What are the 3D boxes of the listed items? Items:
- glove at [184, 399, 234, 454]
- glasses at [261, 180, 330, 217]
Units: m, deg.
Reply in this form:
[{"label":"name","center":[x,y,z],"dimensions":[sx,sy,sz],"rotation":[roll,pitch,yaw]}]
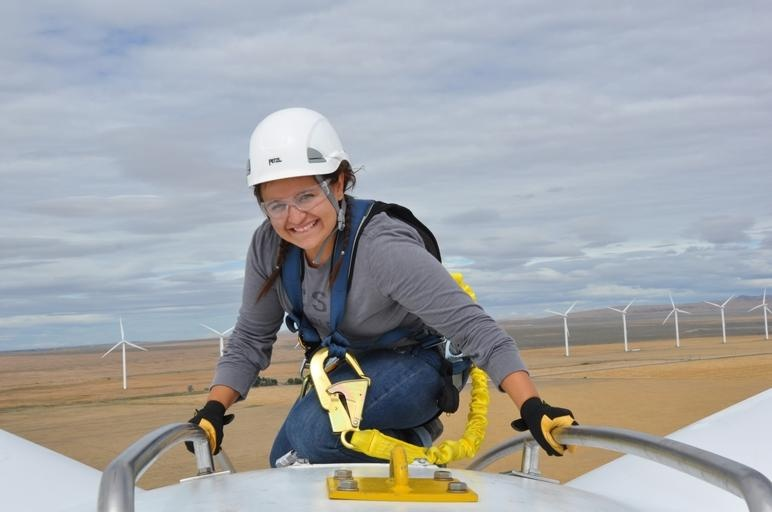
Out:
[{"label":"glove","center":[-1.081,1.075,4.099],"dimensions":[0.354,0.167,0.395],"rotation":[-17,8,-12]},{"label":"glasses","center":[-0.548,-0.362,4.106],"dimensions":[0.441,0.186,0.203],"rotation":[-3,-1,-9]}]
